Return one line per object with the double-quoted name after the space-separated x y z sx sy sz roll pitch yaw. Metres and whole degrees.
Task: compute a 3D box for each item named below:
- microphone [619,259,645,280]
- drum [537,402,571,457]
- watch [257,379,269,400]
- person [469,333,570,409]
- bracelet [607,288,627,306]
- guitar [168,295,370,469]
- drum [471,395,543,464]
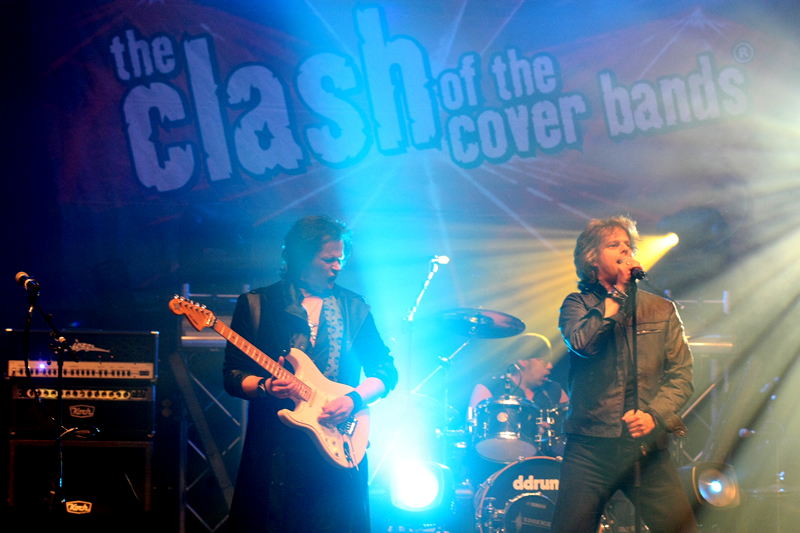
1.828 0.033 5.500 0.236 0.157 0.097 -3 -1 35 "microphone"
1.611 1.763 7.670 0.550 0.557 0.575 1 -4 7 "drum"
-1.040 0.944 5.408 0.093 0.102 0.102 -2 -1 15 "watch"
1.348 1.249 8.325 1.079 0.931 0.701 -1 -3 -6 "person"
1.723 0.233 5.574 0.112 0.075 0.146 35 1 -14 "bracelet"
-1.107 1.005 5.959 1.961 0.705 0.256 38 -41 -24 "guitar"
1.187 1.696 7.609 0.719 0.447 0.760 0 -21 0 "drum"
